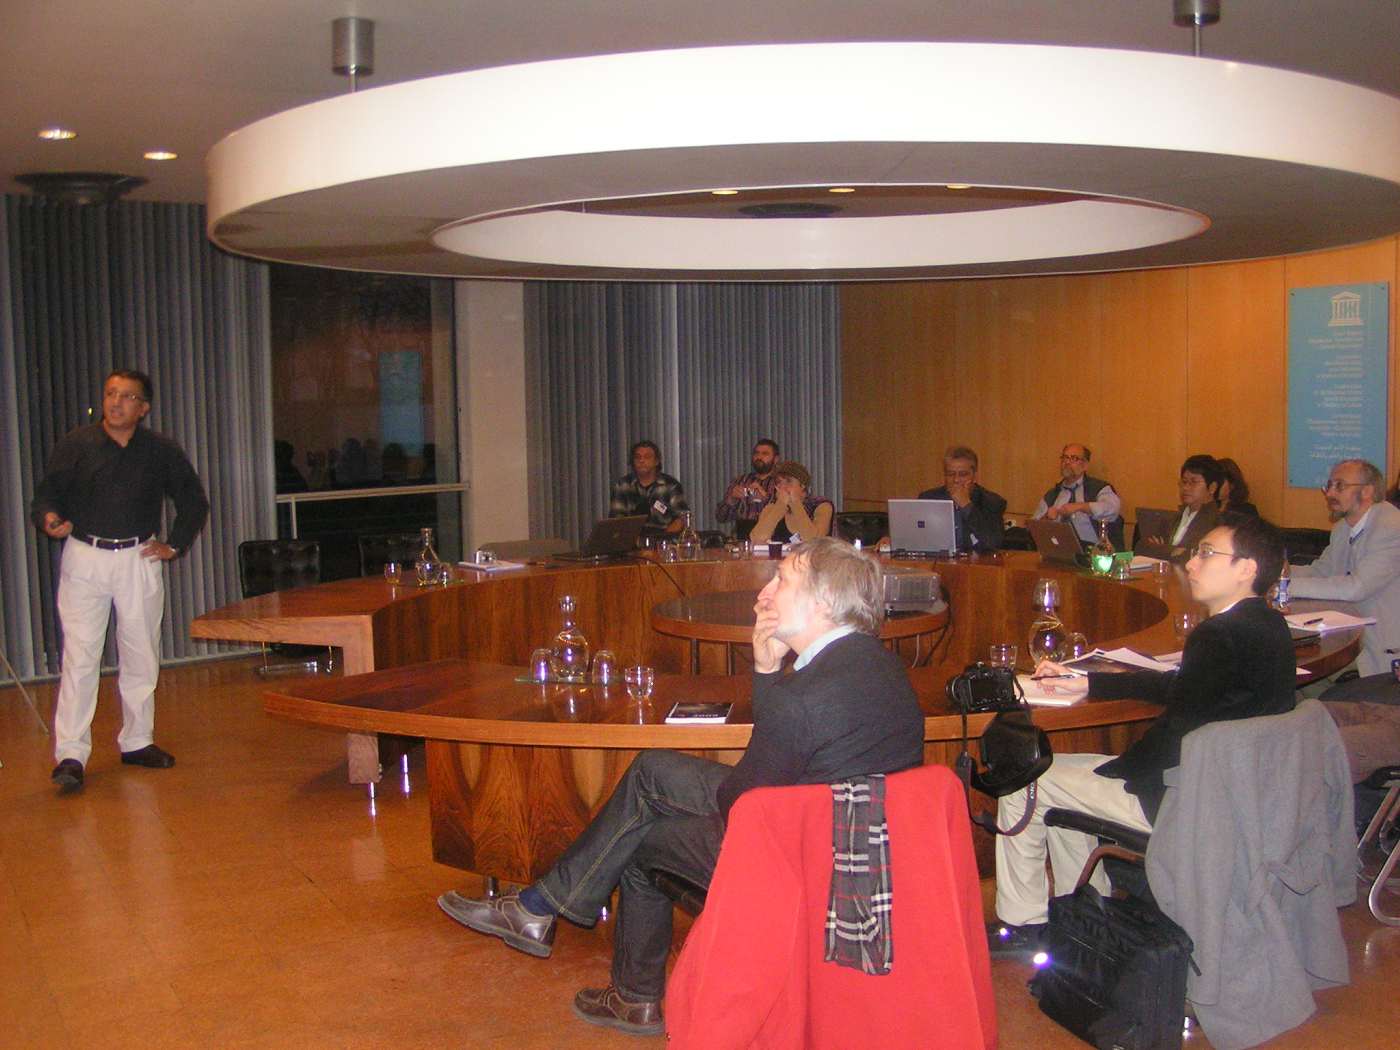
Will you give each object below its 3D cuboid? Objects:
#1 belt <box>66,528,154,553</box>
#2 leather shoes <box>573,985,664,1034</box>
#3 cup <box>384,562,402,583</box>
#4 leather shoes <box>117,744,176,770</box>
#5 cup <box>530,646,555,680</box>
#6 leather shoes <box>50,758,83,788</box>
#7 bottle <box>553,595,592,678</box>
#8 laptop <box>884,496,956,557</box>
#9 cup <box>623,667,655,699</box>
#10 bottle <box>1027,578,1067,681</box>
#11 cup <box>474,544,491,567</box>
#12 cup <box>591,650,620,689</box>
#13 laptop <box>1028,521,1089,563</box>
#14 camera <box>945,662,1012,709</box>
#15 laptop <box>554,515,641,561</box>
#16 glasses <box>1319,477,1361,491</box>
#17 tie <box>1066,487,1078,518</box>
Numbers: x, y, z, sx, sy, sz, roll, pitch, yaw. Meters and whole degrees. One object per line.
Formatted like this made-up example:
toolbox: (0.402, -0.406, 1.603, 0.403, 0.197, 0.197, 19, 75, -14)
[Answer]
belt: (-3.157, 0.078, 6.374, 0.362, 0.108, 0.117, -5, 10, -25)
leather shoes: (-0.277, 1.648, 4.126, 0.323, 0.147, 0.129, 9, 11, 32)
cup: (-1.723, 0.264, 6.748, 0.125, 0.146, 0.125, 0, 1, 0)
leather shoes: (-3.067, 1.290, 6.606, 0.271, 0.117, 0.126, 0, 5, 5)
cup: (-0.635, 0.561, 4.794, 0.106, 0.147, 0.105, 1, -5, 0)
leather shoes: (-3.327, 1.311, 6.288, 0.137, 0.136, 0.140, 2, -2, -7)
bottle: (-0.523, 0.448, 4.770, 0.143, 0.329, 0.143, -1, 14, 0)
laptop: (1.400, 0.024, 7.556, 0.464, 0.339, 0.333, 3, 9, 35)
cup: (-0.238, 0.614, 4.626, 0.106, 0.106, 0.109, 0, -3, 0)
bottle: (1.443, 0.442, 4.975, 0.163, 0.410, 0.164, -1, 4, 0)
cup: (-1.386, 0.196, 7.573, 0.073, 0.133, 0.126, 6, -4, 8)
cup: (-0.373, 0.581, 4.727, 0.117, 0.129, 0.132, -1, -5, -1)
laptop: (2.198, 0.108, 7.312, 0.227, 0.228, 0.323, -24, 15, -22)
camera: (0.985, 0.575, 4.209, 0.197, 0.119, 0.151, -2, 4, -15)
laptop: (-0.660, 0.074, 7.916, 0.406, 0.254, 0.305, -2, 12, -43)
glasses: (3.197, -0.227, 5.972, 0.148, 0.072, 0.116, 10, -5, -29)
tie: (2.718, -0.149, 8.629, 0.042, 0.172, 0.121, 8, 0, -9)
